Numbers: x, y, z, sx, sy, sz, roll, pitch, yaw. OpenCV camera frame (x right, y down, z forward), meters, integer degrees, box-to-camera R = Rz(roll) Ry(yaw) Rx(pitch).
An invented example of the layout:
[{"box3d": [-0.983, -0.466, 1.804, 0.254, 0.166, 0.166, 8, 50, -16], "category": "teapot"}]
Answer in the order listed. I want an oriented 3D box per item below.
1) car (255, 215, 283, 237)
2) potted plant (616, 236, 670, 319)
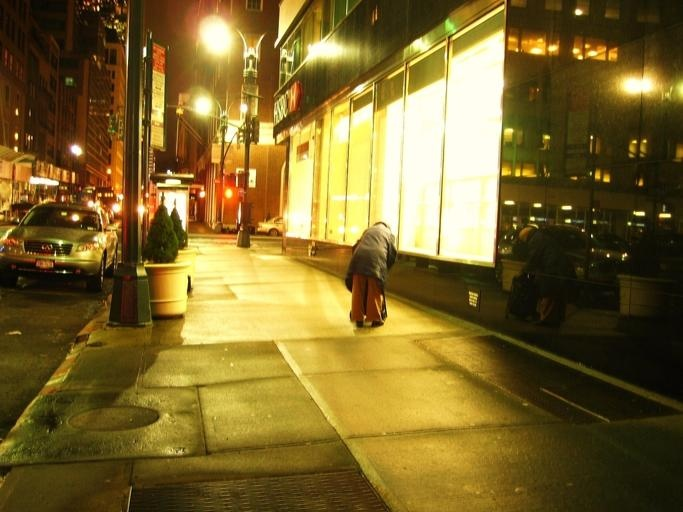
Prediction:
[{"box3d": [-5.276, -2.192, 51.760, 2.228, 1.472, 1.610, -4, 9, -13], "category": "car"}, {"box3d": [3.625, 0.287, 8.292, 0.387, 0.879, 0.743, 1, 7, 20], "category": "potted plant"}]
